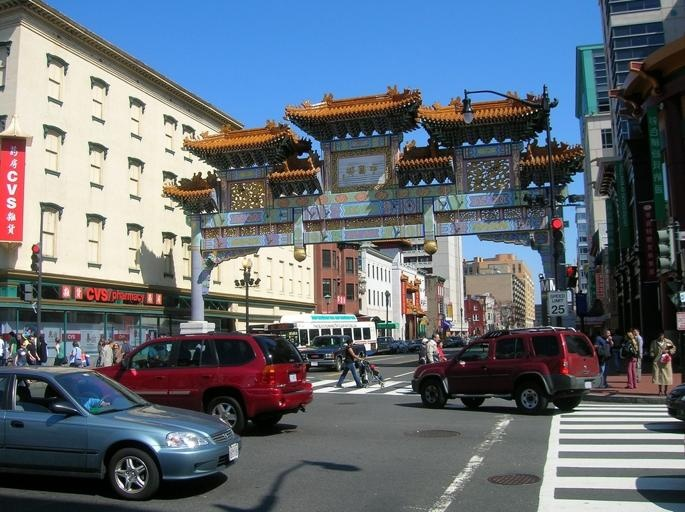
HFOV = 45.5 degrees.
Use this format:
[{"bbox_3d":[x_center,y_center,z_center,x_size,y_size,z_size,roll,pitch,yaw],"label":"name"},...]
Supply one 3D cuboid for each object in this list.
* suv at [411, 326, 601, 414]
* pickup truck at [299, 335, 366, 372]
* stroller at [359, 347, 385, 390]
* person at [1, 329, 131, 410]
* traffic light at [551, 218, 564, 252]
[{"bbox_3d":[5.232,3.363,25.108,4.508,2.158,2.567,-1,-4,30],"label":"suv"},{"bbox_3d":[-0.452,5.050,43.166,2.103,1.796,4.322,-4,-3,25],"label":"pickup truck"},{"bbox_3d":[1.210,4.593,33.050,0.844,1.254,0.843,-7,-5,15],"label":"stroller"},{"bbox_3d":[-5.507,2.565,16.840,1.941,0.991,1.127,-2,-2,-2],"label":"person"},{"bbox_3d":[7.777,-0.791,29.517,0.387,1.242,0.906,-4,-6,14],"label":"traffic light"}]
